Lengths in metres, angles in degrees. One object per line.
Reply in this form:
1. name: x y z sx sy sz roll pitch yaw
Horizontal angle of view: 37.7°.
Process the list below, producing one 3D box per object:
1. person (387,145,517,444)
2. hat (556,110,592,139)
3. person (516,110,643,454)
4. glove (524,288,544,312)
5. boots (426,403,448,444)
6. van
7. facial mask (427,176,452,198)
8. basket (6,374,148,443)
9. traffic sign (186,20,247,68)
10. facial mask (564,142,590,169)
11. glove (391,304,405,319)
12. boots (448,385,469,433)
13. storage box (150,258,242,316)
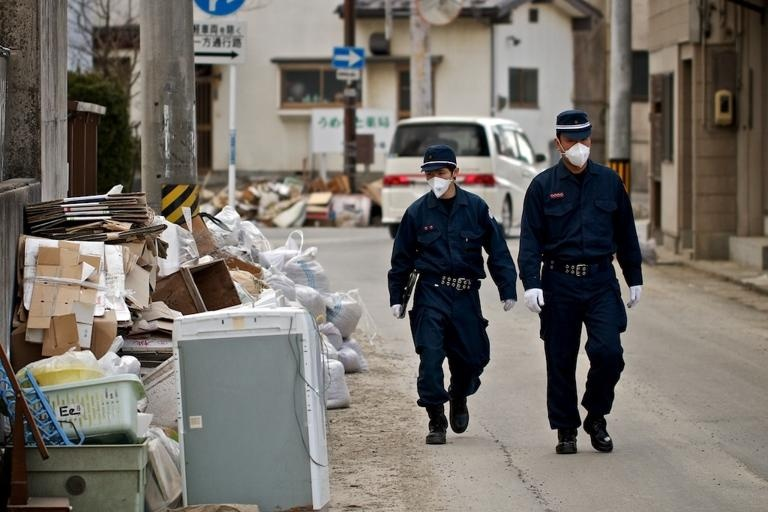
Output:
1. person: 0.557 0.312 9.403 1.041 2.470 0.596 -1 5 -1
2. hat: 1.507 -1.076 9.052 0.198 0.153 0.278 -5 12 -21
3. person: 1.587 0.400 9.110 0.955 2.385 0.462 0 5 9
4. glove: 1.200 0.347 9.003 0.137 0.182 0.079 0 5 13
5. boots: 0.430 1.415 9.367 0.138 0.343 0.336 -1 -3 4
6. van: 1.539 -1.648 21.454 1.753 1.661 3.195 1 7 16
7. facial mask: 0.456 -0.581 9.314 0.140 0.111 0.173 2 15 12
8. basket: -2.089 1.077 7.787 0.682 0.322 0.513 -3 -21 0
9. traffic sign: -2.066 -2.749 14.157 0.638 0.599 0.862 -2 6 -8
10. facial mask: 1.546 -0.813 8.966 0.167 0.126 0.187 -4 27 -8
11. glove: 0.120 0.460 9.430 0.083 0.103 0.124 -2 -2 -1
12. boots: 0.620 1.320 9.549 0.127 0.429 0.160 -6 6 -6
13. storage box: -1.693 0.305 10.168 0.531 0.542 0.761 -20 1 22
